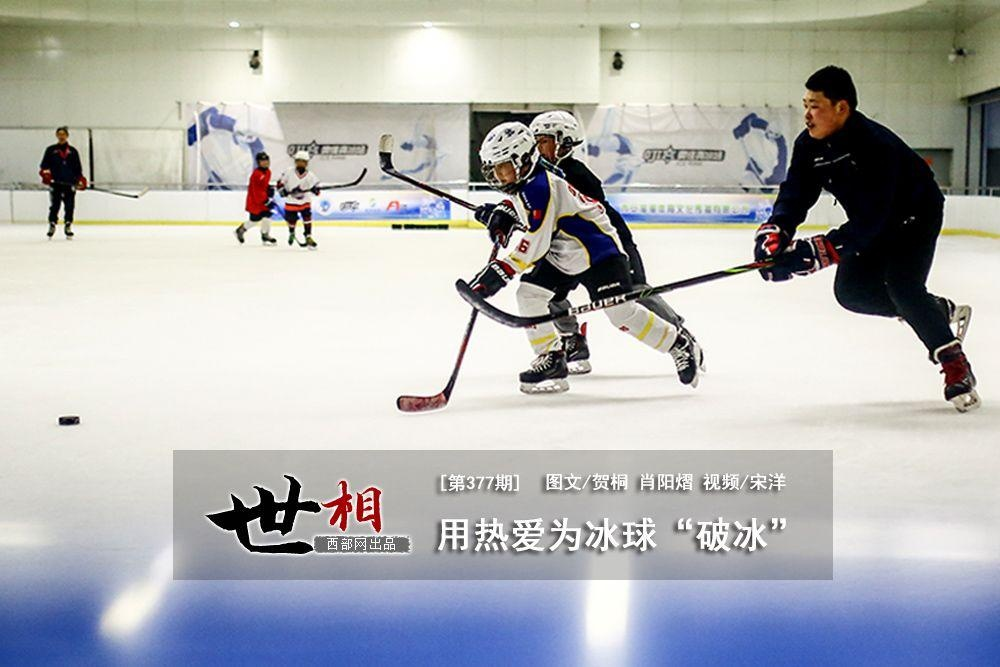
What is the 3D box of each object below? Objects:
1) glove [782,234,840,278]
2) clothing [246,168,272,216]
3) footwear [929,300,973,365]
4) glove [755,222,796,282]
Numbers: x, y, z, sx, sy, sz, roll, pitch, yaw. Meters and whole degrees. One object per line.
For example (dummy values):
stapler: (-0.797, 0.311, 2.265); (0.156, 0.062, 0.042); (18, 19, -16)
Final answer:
glove: (1.220, -0.295, 3.832); (0.196, 0.160, 0.076); (-13, -34, 5)
clothing: (-2.826, -1.672, 11.443); (0.325, 0.529, 0.242); (-6, 13, -27)
footwear: (1.942, -0.069, 4.195); (0.142, 0.106, 0.330); (8, -14, 19)
glove: (1.083, -0.320, 3.853); (0.176, 0.214, 0.103); (2, 21, 4)
